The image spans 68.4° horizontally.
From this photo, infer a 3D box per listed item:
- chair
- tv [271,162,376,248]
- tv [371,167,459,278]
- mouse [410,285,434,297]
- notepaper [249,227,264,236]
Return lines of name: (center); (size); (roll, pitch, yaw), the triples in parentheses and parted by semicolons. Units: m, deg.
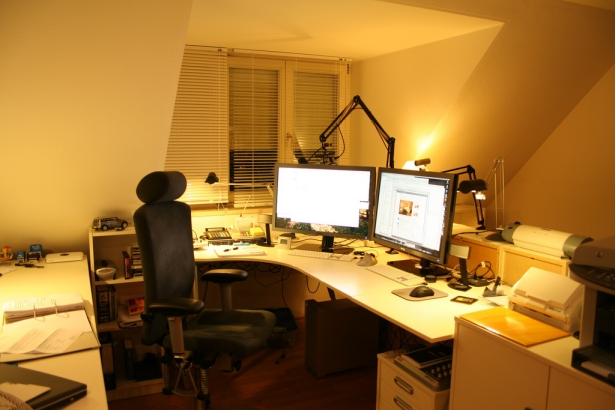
chair: (-0.644, 0.665, 2.924); (0.799, 1.751, 0.764); (4, 16, 19)
tv: (0.140, 0.020, 3.659); (0.881, 0.720, 0.199); (3, 5, 30)
tv: (0.729, 0.121, 3.093); (0.237, 0.662, 0.660); (-6, 13, -30)
mouse: (0.694, 0.528, 2.764); (0.097, 0.024, 0.071); (-6, 15, -22)
notepaper: (-0.420, 0.228, 3.913); (0.081, 0.020, 0.087); (-7, 17, -28)
